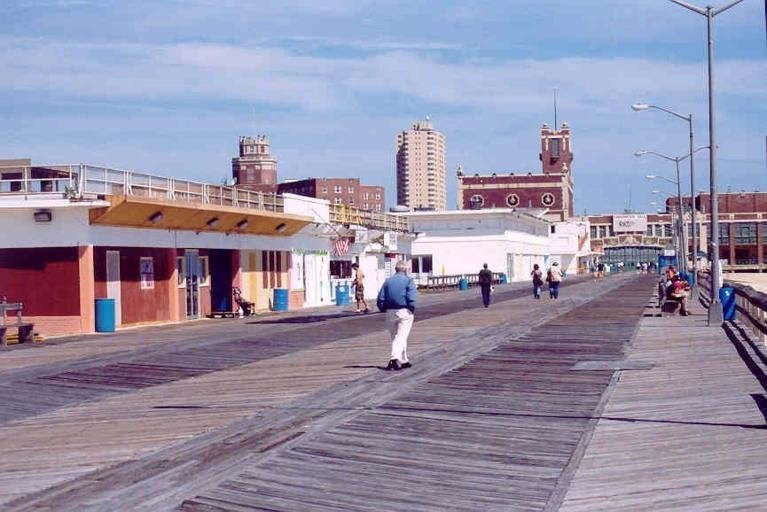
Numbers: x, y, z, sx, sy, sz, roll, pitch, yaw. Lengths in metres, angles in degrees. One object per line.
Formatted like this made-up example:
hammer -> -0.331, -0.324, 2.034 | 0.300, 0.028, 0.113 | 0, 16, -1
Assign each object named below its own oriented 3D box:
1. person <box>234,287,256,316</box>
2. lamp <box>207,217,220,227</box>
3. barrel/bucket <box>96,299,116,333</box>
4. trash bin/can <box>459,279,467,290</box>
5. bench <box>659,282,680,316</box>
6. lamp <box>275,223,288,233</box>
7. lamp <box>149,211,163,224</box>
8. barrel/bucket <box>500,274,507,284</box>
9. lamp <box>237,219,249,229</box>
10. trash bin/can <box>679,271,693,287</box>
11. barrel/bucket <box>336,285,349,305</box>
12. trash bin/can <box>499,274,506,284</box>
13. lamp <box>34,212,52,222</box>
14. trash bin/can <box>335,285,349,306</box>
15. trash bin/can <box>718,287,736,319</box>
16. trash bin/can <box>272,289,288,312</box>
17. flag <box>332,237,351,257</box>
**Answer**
person -> -5.400, 1.803, 43.539 | 0.670, 1.173, 1.203 | 0, 7, 14
lamp -> -6.250, -1.209, 41.776 | 0.369, 0.249, 0.347 | 26, 6, 13
barrel/bucket -> -8.794, 1.917, 35.870 | 0.586, 1.062, 0.441 | -5, 8, -22
trash bin/can -> 5.110, 1.842, 71.765 | 0.692, 0.658, 0.638 | 0, -5, 5
bench -> 9.610, 1.614, 38.255 | 0.947, 1.283, 1.463 | 0, 1, 9
lamp -> -4.291, -1.152, 48.047 | 0.433, 0.456, 1.082 | -1, 6, 4
lamp -> -7.623, -1.259, 38.112 | 0.375, 0.123, 0.498 | -30, -13, -6
barrel/bucket -> 9.072, 1.852, 87.305 | 0.775, 0.717, 0.698 | 1, 4, 15
lamp -> -5.474, -1.197, 44.106 | 0.409, 0.298, 0.308 | 2, -5, -29
trash bin/can -> 14.668, 1.148, 54.655 | 0.893, 0.838, 0.955 | 1, 8, 9
barrel/bucket -> -1.909, 1.868, 52.536 | 0.480, 0.897, 0.806 | 0, 7, 10
trash bin/can -> 9.268, 1.831, 87.053 | 0.771, 0.710, 0.680 | 2, 4, -2
lamp -> -10.719, -1.194, 35.693 | 0.526, 0.371, 0.235 | 0, 7, 9
trash bin/can -> -1.866, 1.895, 52.671 | 0.923, 0.824, 0.852 | 0, -1, 6
trash bin/can -> 10.003, 1.462, 32.846 | 0.397, 0.984, 0.548 | 0, 7, 12
trash bin/can -> -4.306, 1.872, 47.473 | 0.600, 0.896, 0.550 | -2, 7, -3
flag -> -2.103, -0.398, 54.666 | 0.745, 0.788, 0.289 | 0, 3, -22
